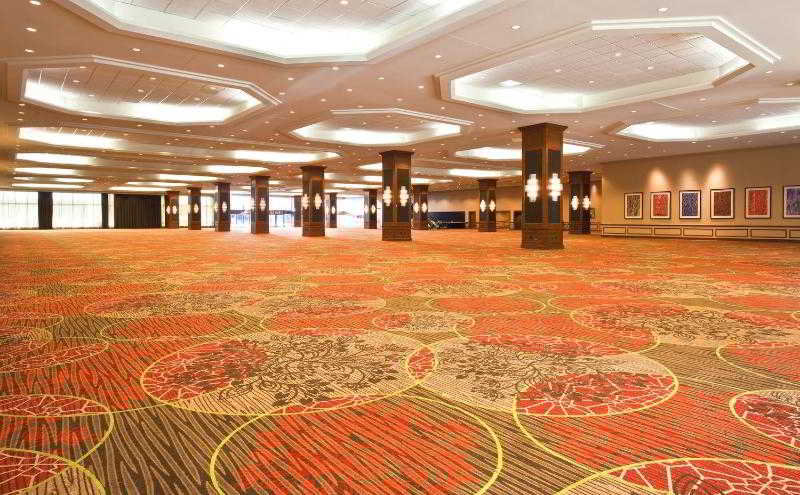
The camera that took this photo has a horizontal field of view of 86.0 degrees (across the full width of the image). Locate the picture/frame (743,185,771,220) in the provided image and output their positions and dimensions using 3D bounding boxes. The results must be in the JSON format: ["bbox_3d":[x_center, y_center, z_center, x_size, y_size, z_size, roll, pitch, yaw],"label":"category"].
[{"bbox_3d":[16.574,-2.055,19.897,1.887,1.492,0.097,-5,6,-19],"label":"picture/frame"}]
